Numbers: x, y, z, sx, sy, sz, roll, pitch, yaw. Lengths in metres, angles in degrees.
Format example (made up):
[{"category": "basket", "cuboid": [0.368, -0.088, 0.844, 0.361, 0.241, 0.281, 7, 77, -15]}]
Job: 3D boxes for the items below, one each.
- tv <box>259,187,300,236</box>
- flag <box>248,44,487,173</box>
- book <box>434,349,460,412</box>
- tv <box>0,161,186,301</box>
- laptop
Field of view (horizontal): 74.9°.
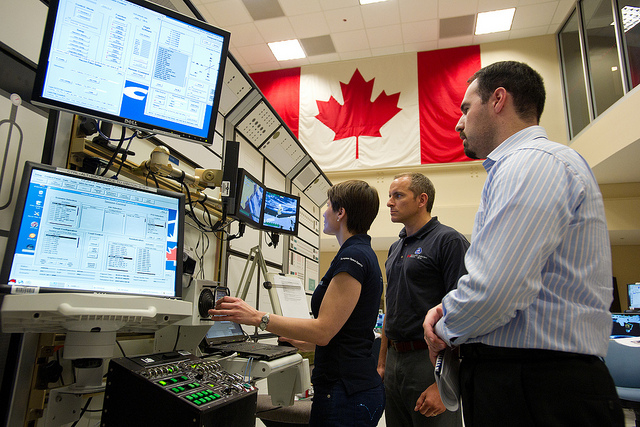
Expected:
[{"category": "tv", "cuboid": [-0.311, 0.003, 3.108, 0.048, 0.333, 0.383, -5, -12, 34]}, {"category": "flag", "cuboid": [0.917, -1.713, 6.809, 2.988, 1.741, 0.037, -3, -18, 7]}, {"category": "book", "cuboid": [0.484, 0.610, 1.578, 0.144, 0.139, 0.034, 25, -52, -23]}, {"category": "tv", "cuboid": [-0.970, 0.096, 1.753, 0.589, 0.443, 0.071, 9, -15, -27]}, {"category": "laptop", "cuboid": [-0.423, 0.665, 2.503, 0.523, 0.370, 0.509, 1, -13, 24]}]
